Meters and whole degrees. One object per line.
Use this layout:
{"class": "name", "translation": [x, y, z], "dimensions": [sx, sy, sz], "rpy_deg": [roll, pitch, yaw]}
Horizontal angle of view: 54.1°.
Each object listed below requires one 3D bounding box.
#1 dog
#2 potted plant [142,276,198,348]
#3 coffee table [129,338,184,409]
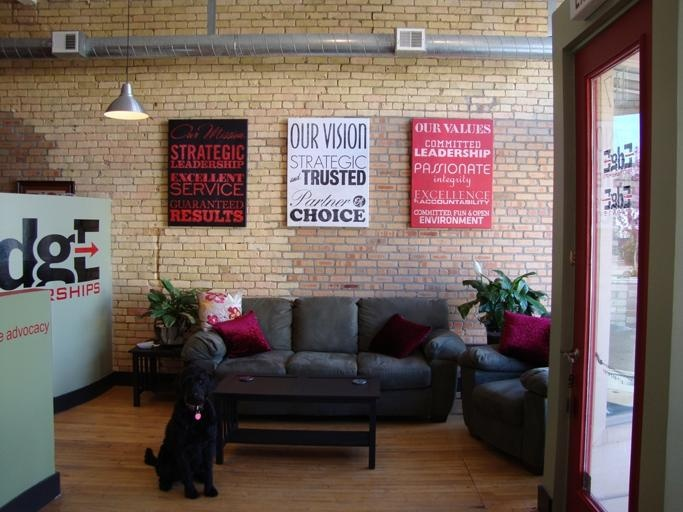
{"class": "dog", "translation": [-1.214, 1.341, 5.121], "dimensions": [0.498, 0.967, 0.340], "rpy_deg": [-3, 13, -13]}
{"class": "potted plant", "translation": [-1.808, 0.573, 6.945], "dimensions": [0.598, 0.612, 0.624], "rpy_deg": [0, -4, 29]}
{"class": "coffee table", "translation": [-1.912, 1.206, 6.930], "dimensions": [0.549, 0.589, 0.580], "rpy_deg": [0, 3, -5]}
